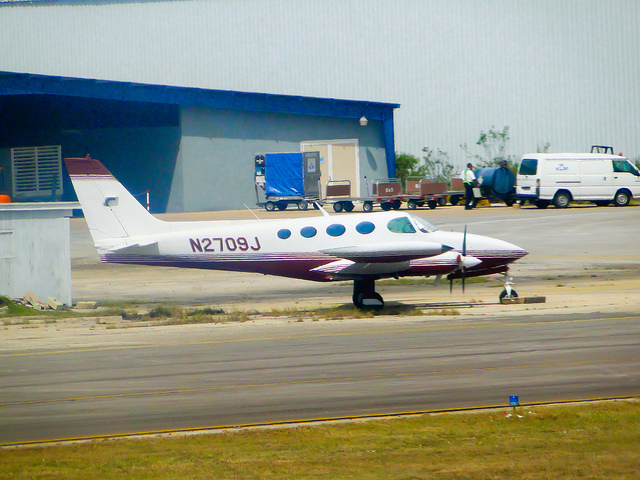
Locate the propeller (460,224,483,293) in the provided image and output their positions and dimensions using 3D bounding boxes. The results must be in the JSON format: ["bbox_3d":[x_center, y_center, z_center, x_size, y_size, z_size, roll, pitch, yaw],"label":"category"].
[{"bbox_3d":[6.117,0.836,56.478,0.749,2.261,0.995,1,11,5],"label":"propeller"}]

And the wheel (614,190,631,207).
[{"bbox_3d":[15.588,-2.213,72.881,0.997,0.836,0.356,-1,7,-6],"label":"wheel"}]

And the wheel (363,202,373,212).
[{"bbox_3d":[2.461,-1.804,76.290,0.642,0.560,0.246,-3,1,34],"label":"wheel"}]

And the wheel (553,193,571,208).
[{"bbox_3d":[12.408,-2.093,72.740,0.889,0.746,0.292,-2,3,2],"label":"wheel"}]

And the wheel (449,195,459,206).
[{"bbox_3d":[7.360,-2.204,78.212,0.492,0.595,0.746,-1,2,6],"label":"wheel"}]

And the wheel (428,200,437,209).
[{"bbox_3d":[6.103,-1.952,76.995,0.427,0.477,0.902,1,2,40],"label":"wheel"}]

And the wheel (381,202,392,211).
[{"bbox_3d":[3.503,-1.841,76.815,0.589,0.413,0.729,-1,2,7],"label":"wheel"}]

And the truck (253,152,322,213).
[{"bbox_3d":[-2.283,-3.311,80.681,4.884,3.454,2.765,1,0,10],"label":"truck"}]

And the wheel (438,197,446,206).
[{"bbox_3d":[6.586,-2.124,77.255,0.512,0.432,0.157,-4,10,-3],"label":"wheel"}]

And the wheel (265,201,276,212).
[{"bbox_3d":[-2.976,-1.916,79.941,0.605,0.571,0.806,-1,2,-3],"label":"wheel"}]

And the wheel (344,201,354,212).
[{"bbox_3d":[1.424,-1.823,76.802,0.443,0.583,0.775,-1,2,9],"label":"wheel"}]

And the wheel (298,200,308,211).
[{"bbox_3d":[-1.133,-1.954,79.023,0.645,0.546,0.220,3,1,12],"label":"wheel"}]

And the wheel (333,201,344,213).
[{"bbox_3d":[0.868,-1.822,76.859,0.577,0.586,0.485,-1,2,12],"label":"wheel"}]
